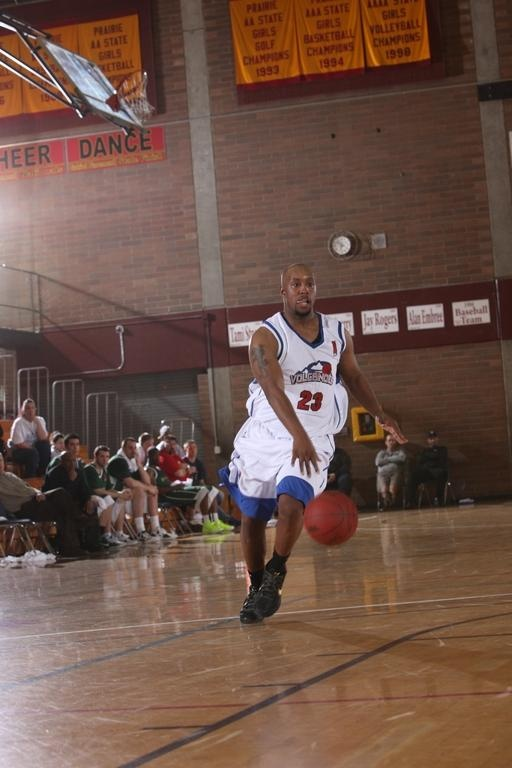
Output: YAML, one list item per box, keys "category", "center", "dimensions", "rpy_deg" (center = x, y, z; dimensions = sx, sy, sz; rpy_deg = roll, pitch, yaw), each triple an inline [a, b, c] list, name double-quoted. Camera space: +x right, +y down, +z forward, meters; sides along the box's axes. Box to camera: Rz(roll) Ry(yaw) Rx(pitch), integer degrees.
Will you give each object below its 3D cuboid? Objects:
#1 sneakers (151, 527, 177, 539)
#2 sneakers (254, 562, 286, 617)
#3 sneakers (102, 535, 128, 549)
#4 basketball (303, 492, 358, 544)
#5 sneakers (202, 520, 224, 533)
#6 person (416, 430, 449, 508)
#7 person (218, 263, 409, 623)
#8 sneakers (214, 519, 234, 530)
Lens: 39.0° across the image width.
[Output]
- category: "sneakers"
  center: [-1.106, 1.804, 8.707]
  dimensions: [0.371, 0.132, 0.123]
  rpy_deg: [5, -1, 2]
- category: "sneakers"
  center: [0.060, 0.825, 2.862]
  dimensions: [0.084, 0.090, 0.228]
  rpy_deg: [5, 14, 8]
- category: "sneakers"
  center: [-1.527, 1.688, 7.751]
  dimensions: [0.313, 0.111, 0.097]
  rpy_deg: [1, -2, 0]
- category: "basketball"
  center: [0.266, 0.519, 2.913]
  dimensions: [0.238, 0.236, 0.215]
  rpy_deg: [2, 18, -8]
- category: "sneakers"
  center: [-0.572, 1.931, 9.720]
  dimensions: [0.123, 0.133, 0.344]
  rpy_deg: [4, -11, -32]
- category: "person"
  center: [2.727, 1.336, 11.288]
  dimensions: [0.510, 1.116, 0.259]
  rpy_deg: [-6, -8, 9]
- category: "person"
  center: [0.146, 0.213, 3.044]
  dimensions: [0.601, 1.455, 0.505]
  rpy_deg: [-5, -8, -4]
- category: "sneakers"
  center: [-0.464, 1.956, 10.002]
  dimensions: [0.325, 0.120, 0.105]
  rpy_deg: [-1, -3, 20]
